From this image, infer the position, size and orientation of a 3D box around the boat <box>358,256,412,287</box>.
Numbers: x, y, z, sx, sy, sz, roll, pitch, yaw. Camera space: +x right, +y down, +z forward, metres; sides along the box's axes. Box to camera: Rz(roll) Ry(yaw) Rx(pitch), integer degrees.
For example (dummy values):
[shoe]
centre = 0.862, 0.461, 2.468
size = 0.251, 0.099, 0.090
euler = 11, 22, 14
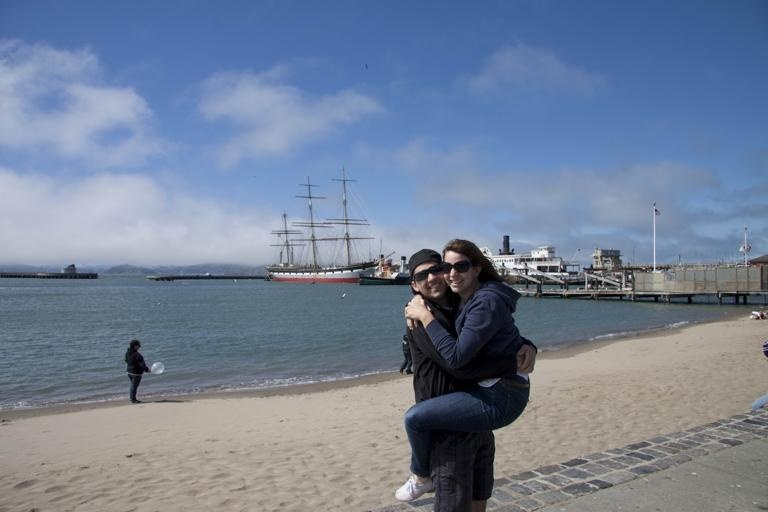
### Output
[boat]
centre = 1.466, 4.056, 131.117
size = 4.480, 5.617, 14.307
euler = -4, -6, 44
